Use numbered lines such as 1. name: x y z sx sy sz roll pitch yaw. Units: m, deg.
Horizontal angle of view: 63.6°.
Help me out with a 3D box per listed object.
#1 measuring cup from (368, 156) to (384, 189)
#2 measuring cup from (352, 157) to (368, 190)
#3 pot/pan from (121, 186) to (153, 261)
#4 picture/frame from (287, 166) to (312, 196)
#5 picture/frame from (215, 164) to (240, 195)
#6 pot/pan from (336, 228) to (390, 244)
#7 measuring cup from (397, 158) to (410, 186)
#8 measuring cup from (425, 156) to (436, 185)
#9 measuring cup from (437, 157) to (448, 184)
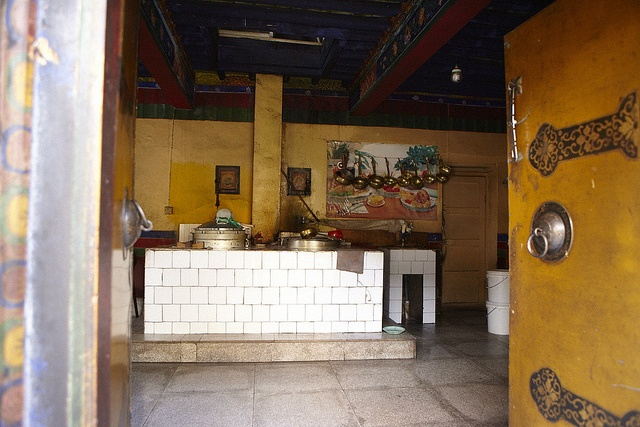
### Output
1. measuring cup: 0.681 -0.508 6.414 0.185 0.374 0.138 -2 -10 -43
2. measuring cup: 0.493 -0.532 6.385 0.171 0.441 0.170 -2 -11 0
3. pot/pan: -0.580 0.027 1.636 0.080 0.215 0.189 0 3 -18
4. picture/frame: -0.283 -0.416 6.685 0.373 0.428 0.032 0 -3 -8
5. picture/frame: -1.199 -0.428 6.573 0.370 0.450 0.045 -1 0 -3
6. pot/pan: 0.631 0.305 6.707 0.714 0.187 0.081 1 3 -12
7. measuring cup: 1.075 -0.528 6.612 0.162 0.364 0.466 2 3 8
8. measuring cup: 1.416 -0.562 6.580 0.159 0.348 0.754 2 3 12
9. measuring cup: 1.613 -0.567 6.769 0.165 0.328 0.134 -19 -4 14
